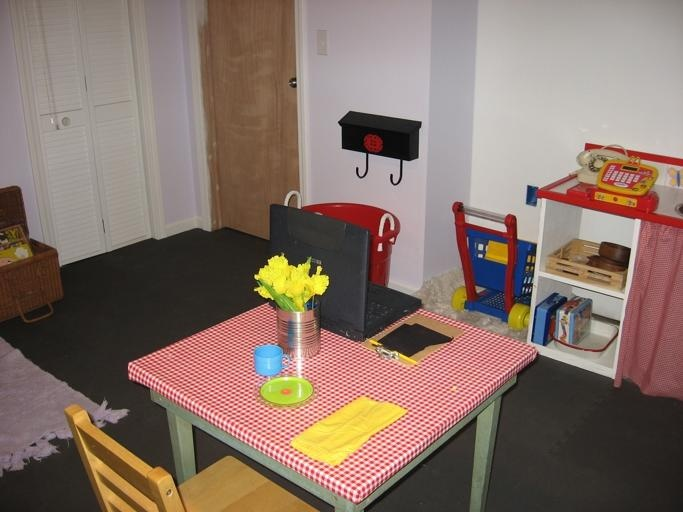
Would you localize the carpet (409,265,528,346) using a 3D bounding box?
[{"bbox_3d":[0.919,0.385,3.715,0.589,0.200,0.444,24,36,31],"label":"carpet"}]

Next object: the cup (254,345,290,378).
[{"bbox_3d":[-0.248,0.370,1.866,0.107,0.085,0.088,6,24,7],"label":"cup"}]

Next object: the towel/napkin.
[{"bbox_3d":[0.026,0.533,1.605,0.150,0.032,0.264,16,30,39],"label":"towel/napkin"}]

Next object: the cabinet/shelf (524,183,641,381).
[{"bbox_3d":[1.471,0.177,3.141,0.601,1.290,0.681,17,34,30],"label":"cabinet/shelf"}]

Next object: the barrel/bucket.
[{"bbox_3d":[0.136,-0.198,3.464,0.616,0.531,0.674,1,17,0],"label":"barrel/bucket"}]

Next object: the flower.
[{"bbox_3d":[-0.197,0.128,1.932,0.275,0.273,0.226,0,12,17],"label":"flower"}]

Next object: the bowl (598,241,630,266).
[{"bbox_3d":[1.635,-0.029,3.075,0.137,0.091,0.136,9,17,-3],"label":"bowl"}]

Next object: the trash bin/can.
[{"bbox_3d":[0.098,-0.173,3.522,0.567,0.583,0.522,14,28,26],"label":"trash bin/can"}]

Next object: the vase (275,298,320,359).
[{"bbox_3d":[-0.168,0.298,1.997,0.152,0.189,0.157,2,-5,-39],"label":"vase"}]

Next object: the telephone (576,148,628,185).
[{"bbox_3d":[1.561,-0.574,3.115,0.274,0.214,0.193,18,39,35],"label":"telephone"}]

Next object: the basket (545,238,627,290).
[{"bbox_3d":[1.487,0.074,3.101,0.313,0.093,0.354,22,34,39],"label":"basket"}]
